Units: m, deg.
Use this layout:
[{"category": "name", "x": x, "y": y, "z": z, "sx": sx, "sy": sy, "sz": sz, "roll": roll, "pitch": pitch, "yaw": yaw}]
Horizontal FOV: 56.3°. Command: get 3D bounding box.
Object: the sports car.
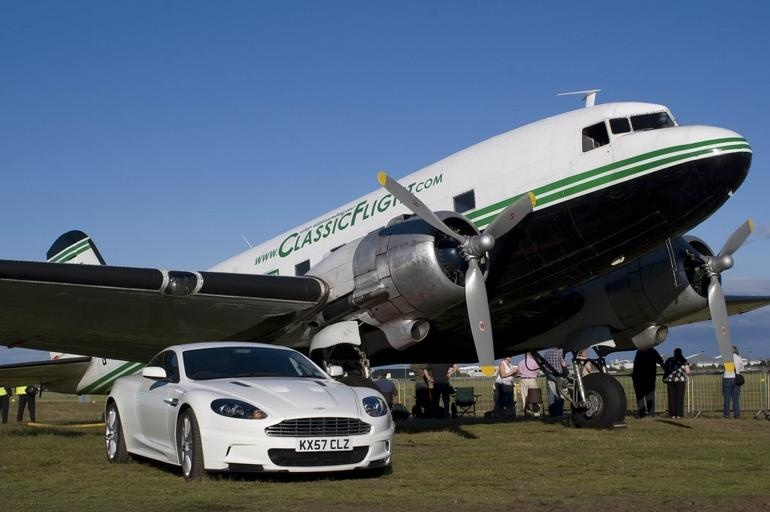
[{"category": "sports car", "x": -2.028, "y": 2.082, "z": 10.054, "sx": 3.783, "sy": 1.886, "sz": 1.827, "roll": -9, "pitch": -14, "yaw": 30}]
